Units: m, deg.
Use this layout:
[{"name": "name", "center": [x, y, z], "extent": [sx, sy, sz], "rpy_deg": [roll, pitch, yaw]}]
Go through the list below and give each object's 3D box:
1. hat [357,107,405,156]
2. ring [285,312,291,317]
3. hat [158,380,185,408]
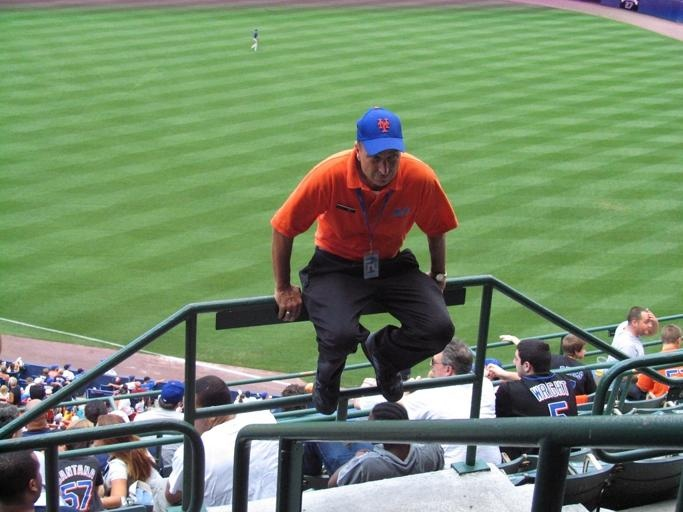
[{"name": "hat", "center": [0.502, -1.936, 20.034], "extent": [0.742, 0.413, 0.836], "rpy_deg": [-9, 33, -12]}, {"name": "ring", "center": [-0.821, 0.860, 19.854], "extent": [0.123, 0.071, 0.022], "rpy_deg": [1, 1, -6]}, {"name": "hat", "center": [-2.814, 2.284, 22.103], "extent": [0.433, 0.249, 0.484], "rpy_deg": [9, 31, 7]}]
